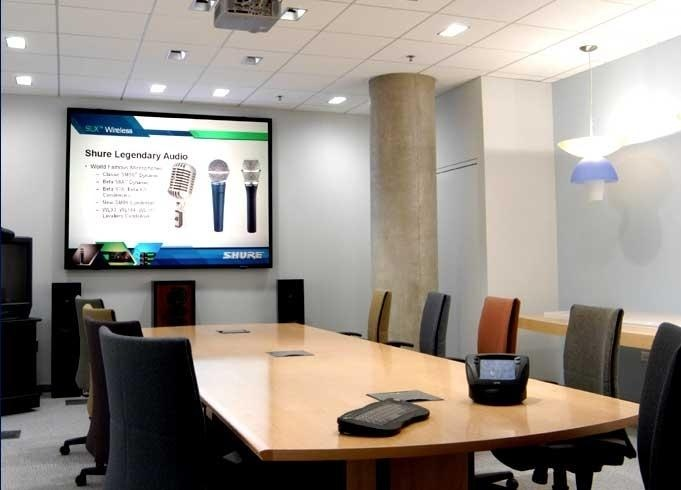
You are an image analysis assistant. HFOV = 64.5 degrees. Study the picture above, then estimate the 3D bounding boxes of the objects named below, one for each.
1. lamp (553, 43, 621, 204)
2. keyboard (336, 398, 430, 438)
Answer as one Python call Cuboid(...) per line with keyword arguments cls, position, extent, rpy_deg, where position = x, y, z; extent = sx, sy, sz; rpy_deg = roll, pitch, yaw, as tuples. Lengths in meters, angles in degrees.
Cuboid(cls="lamp", position=(2.892, -1.383, 6.352), extent=(0.747, 1.707, 1.425), rpy_deg=(1, 3, 30))
Cuboid(cls="keyboard", position=(0.204, 0.767, 2.438), extent=(0.253, 0.063, 0.445), rpy_deg=(1, 3, 38))
